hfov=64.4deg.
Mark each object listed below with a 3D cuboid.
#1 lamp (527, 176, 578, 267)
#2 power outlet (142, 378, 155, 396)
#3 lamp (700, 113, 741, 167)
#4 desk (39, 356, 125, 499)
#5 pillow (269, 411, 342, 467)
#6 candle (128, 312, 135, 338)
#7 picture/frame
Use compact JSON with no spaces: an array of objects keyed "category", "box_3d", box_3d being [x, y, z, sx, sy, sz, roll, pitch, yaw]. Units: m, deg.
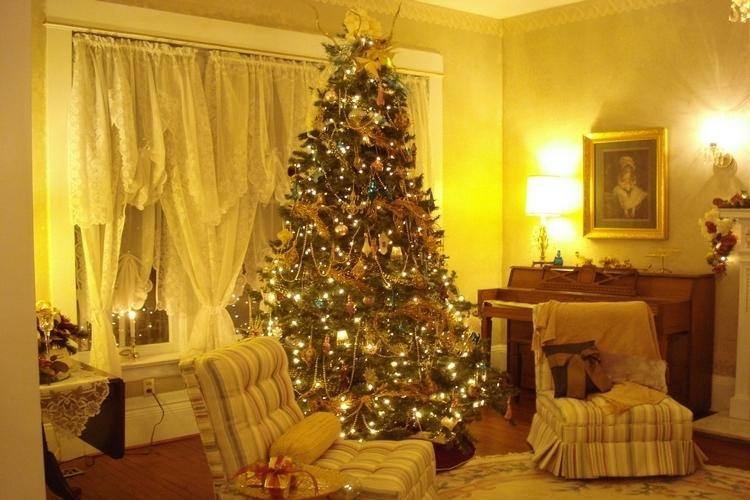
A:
[{"category":"lamp","box_3d":[1.948,-0.340,6.524,0.503,0.707,0.427,-3,1,28]},{"category":"power outlet","box_3d":[-1.947,1.173,5.130,0.090,0.143,0.026,-4,1,-39]},{"category":"lamp","box_3d":[3.241,-1.032,5.612,0.307,0.518,0.094,-3,1,28]},{"category":"desk","box_3d":[-1.943,1.250,3.975,0.471,0.969,0.514,-4,1,-30]},{"category":"pillow","box_3d":[-0.363,1.043,3.333,0.167,0.120,0.375,11,10,20]},{"category":"candle","box_3d":[-2.117,0.647,5.196,0.061,0.244,0.043,-4,1,-34]},{"category":"picture/frame","box_3d":[2.569,-0.678,6.183,0.863,0.785,0.049,-3,1,40]}]
